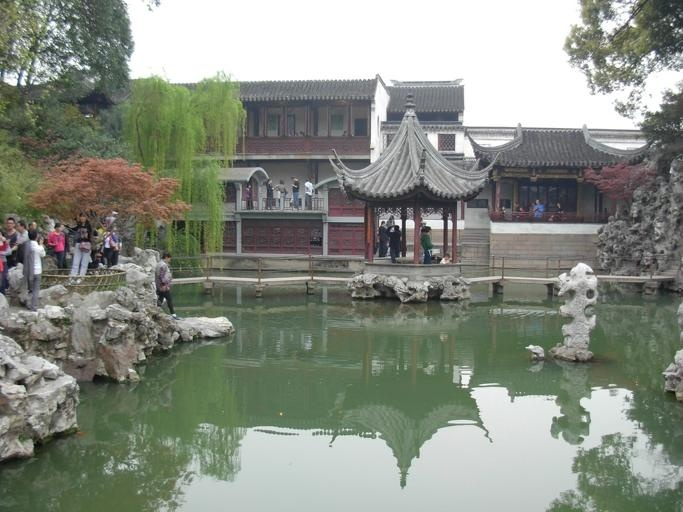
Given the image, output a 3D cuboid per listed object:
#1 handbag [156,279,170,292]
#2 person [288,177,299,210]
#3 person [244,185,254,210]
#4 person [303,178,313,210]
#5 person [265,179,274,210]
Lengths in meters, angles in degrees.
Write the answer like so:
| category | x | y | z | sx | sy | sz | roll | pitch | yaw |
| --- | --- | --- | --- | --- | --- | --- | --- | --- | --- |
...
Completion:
| category | x | y | z | sx | sy | sz | roll | pitch | yaw |
| --- | --- | --- | --- | --- | --- | --- | --- | --- | --- |
| handbag | -4.176 | 0.699 | 16.427 | 0.245 | 0.387 | 0.266 | 0 | 4 | -9 |
| person | -2.053 | -2.701 | 31.060 | 0.361 | 1.364 | 0.957 | -1 | 9 | -5 |
| person | -4.147 | -2.647 | 31.596 | 0.347 | 1.097 | 1.092 | -1 | 9 | -6 |
| person | -1.472 | -2.646 | 31.116 | 0.351 | 1.216 | 0.875 | -1 | 9 | -2 |
| person | -3.233 | -2.718 | 31.516 | 0.332 | 1.209 | 0.888 | -1 | 9 | -4 |
